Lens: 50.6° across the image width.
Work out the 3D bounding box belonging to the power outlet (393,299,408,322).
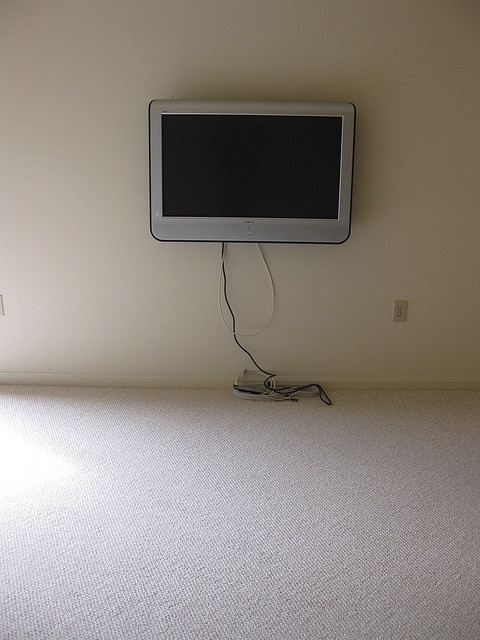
[{"bbox_3d":[0.833,-0.048,2.636,0.074,0.018,0.120,-4,-76,-6],"label":"power outlet"}]
